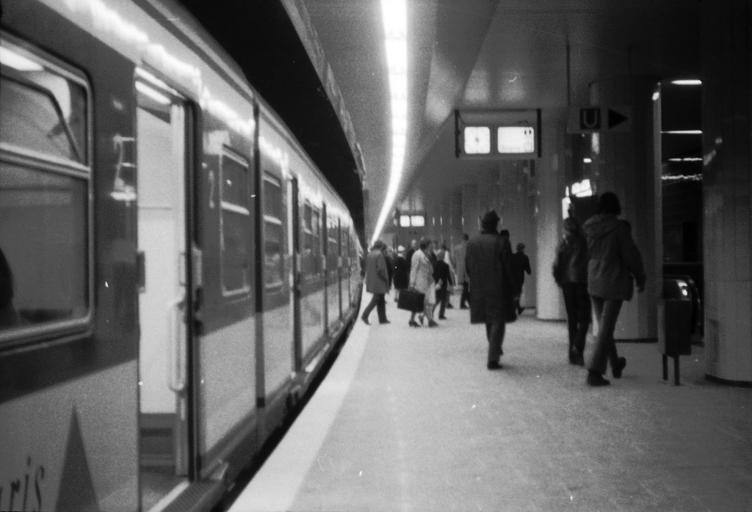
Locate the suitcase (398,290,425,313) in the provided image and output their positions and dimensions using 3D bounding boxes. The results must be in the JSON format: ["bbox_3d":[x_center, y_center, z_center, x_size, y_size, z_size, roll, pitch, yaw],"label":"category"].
[{"bbox_3d":[0.904,1.053,13.426,0.772,0.549,0.406,-1,0,-42],"label":"suitcase"}]

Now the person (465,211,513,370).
[{"bbox_3d":[1.716,0.699,8.495,0.715,2.245,0.285,-1,0,9],"label":"person"}]

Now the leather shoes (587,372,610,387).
[{"bbox_3d":[2.978,1.658,7.544,0.369,0.185,0.133,-1,1,-8],"label":"leather shoes"}]
